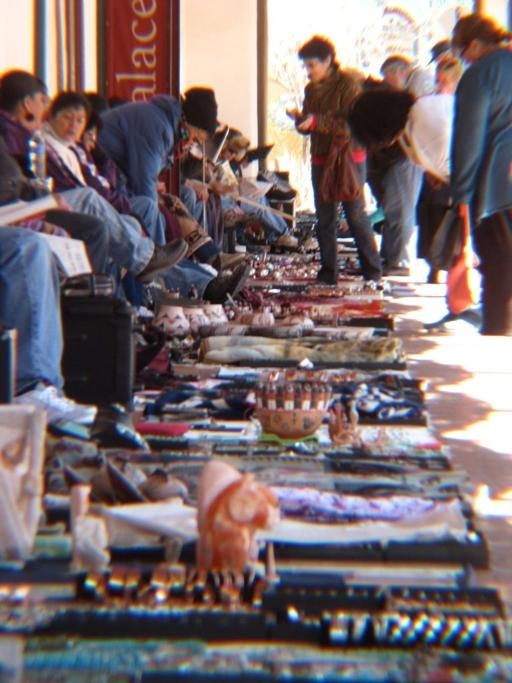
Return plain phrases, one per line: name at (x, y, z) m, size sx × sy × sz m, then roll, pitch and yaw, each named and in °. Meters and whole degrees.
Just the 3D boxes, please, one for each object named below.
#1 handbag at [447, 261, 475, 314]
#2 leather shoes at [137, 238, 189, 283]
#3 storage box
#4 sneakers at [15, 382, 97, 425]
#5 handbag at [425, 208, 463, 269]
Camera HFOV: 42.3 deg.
handbag at (0.973, -0.252, 3.132) m, size 0.052 × 0.210 × 0.156 m, roll -2°, pitch 52°, yaw -17°
leather shoes at (-0.425, -0.356, 2.991) m, size 0.261 × 0.087 × 0.172 m, roll -36°, pitch -3°, yaw -4°
storage box at (-0.383, 0.023, 1.761) m, size 0.240 × 0.309 × 0.240 m, roll 1°, pitch 3°, yaw -1°
sneakers at (-0.408, 0.125, 1.335) m, size 0.133 × 0.055 × 0.044 m, roll 9°, pitch 27°, yaw -23°
handbag at (0.911, -0.469, 3.181) m, size 0.102 × 0.326 × 0.130 m, roll 14°, pitch 28°, yaw 16°
